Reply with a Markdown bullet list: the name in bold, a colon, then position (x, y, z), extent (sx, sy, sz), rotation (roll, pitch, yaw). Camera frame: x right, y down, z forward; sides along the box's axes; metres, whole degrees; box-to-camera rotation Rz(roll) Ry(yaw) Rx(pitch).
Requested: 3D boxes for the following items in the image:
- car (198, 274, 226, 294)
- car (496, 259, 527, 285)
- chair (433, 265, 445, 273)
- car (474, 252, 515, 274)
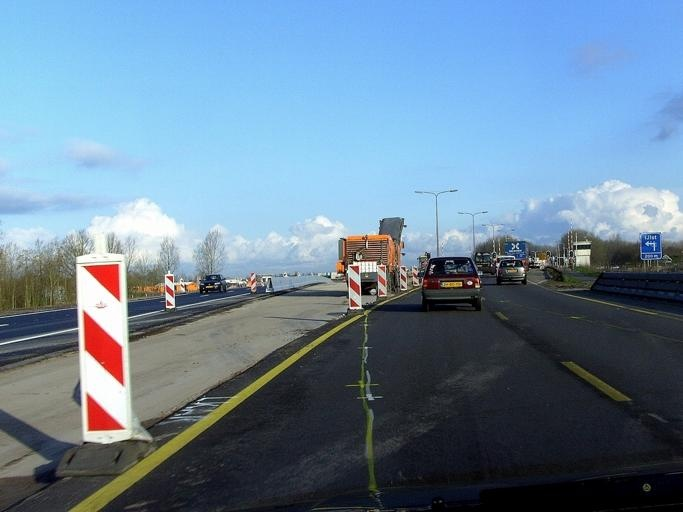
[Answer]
- **car**: position (-10.969, 2.299, 49.297), extent (2.209, 1.400, 1.778), rotation (-2, 1, -25)
- **car**: position (12.661, 1.114, 43.376), extent (1.282, 1.324, 2.582), rotation (0, 7, 10)
- **chair**: position (3.252, 0.467, 19.445), extent (0.349, 0.266, 0.204), rotation (-2, -1, 5)
- **car**: position (14.987, 0.658, 57.438), extent (2.177, 1.979, 3.844), rotation (0, -3, 18)
